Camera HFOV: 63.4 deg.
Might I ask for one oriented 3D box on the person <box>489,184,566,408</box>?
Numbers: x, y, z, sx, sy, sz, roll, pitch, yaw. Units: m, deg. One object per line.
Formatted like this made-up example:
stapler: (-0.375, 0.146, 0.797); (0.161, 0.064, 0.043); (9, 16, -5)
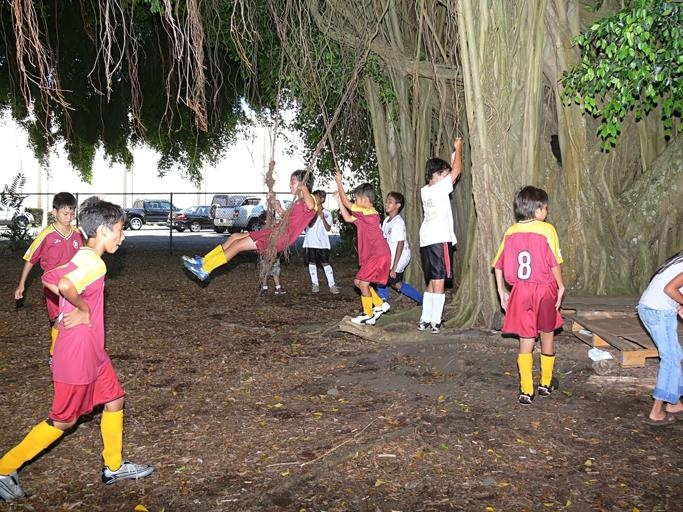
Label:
person: (1.704, 0.342, 5.049); (0.513, 1.916, 0.533); (-1, 10, -5)

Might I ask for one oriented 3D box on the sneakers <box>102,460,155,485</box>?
sneakers: (-1.526, 1.507, 3.947); (0.338, 0.161, 0.138); (-2, 0, -22)

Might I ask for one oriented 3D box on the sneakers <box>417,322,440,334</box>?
sneakers: (1.101, 0.910, 7.006); (0.284, 0.137, 0.107); (4, 0, -28)

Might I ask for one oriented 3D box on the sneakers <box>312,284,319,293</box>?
sneakers: (-0.504, 0.609, 10.393); (0.125, 0.134, 0.222); (-2, 2, 2)

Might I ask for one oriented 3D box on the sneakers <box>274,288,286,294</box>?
sneakers: (-1.133, 0.636, 10.173); (0.236, 0.182, 0.085); (-3, 9, -3)

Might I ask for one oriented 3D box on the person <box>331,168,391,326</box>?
person: (0.293, -0.054, 7.001); (0.611, 2.015, 1.116); (2, 10, 11)

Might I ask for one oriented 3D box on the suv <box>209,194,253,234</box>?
suv: (-5.268, -1.996, 25.411); (1.280, 1.412, 2.428); (1, 10, 19)

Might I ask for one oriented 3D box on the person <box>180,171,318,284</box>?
person: (-0.994, -0.305, 6.825); (1.820, 1.373, 1.006); (-13, 41, -20)

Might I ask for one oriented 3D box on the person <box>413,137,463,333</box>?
person: (1.199, -0.241, 6.891); (0.646, 2.379, 0.499); (7, 12, 34)
